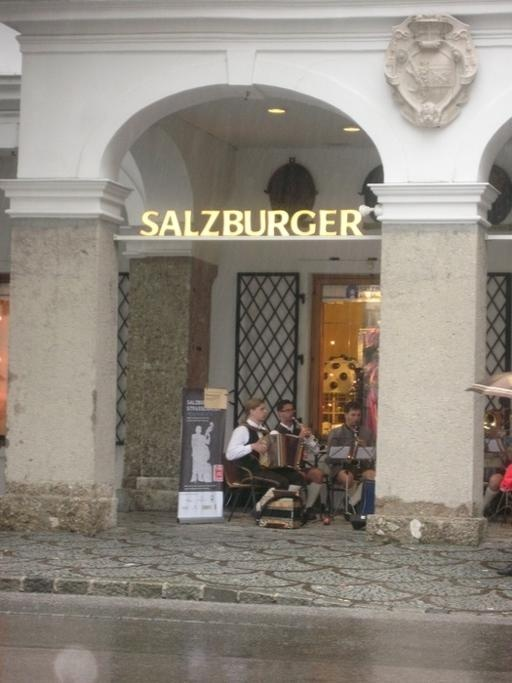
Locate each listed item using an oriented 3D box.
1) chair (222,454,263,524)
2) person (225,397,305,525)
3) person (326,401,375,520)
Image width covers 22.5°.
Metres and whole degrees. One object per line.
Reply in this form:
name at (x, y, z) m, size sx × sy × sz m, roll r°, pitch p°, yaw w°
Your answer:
chair at (-0.141, 1.375, 12.273) m, size 0.414 × 0.549 × 0.404 m, roll 0°, pitch -1°, yaw -20°
person at (0.072, 1.168, 12.392) m, size 0.672 × 1.232 × 0.613 m, roll 2°, pitch -4°, yaw 23°
person at (0.901, 1.170, 12.493) m, size 0.469 × 1.130 × 1.372 m, roll 0°, pitch -2°, yaw 4°
